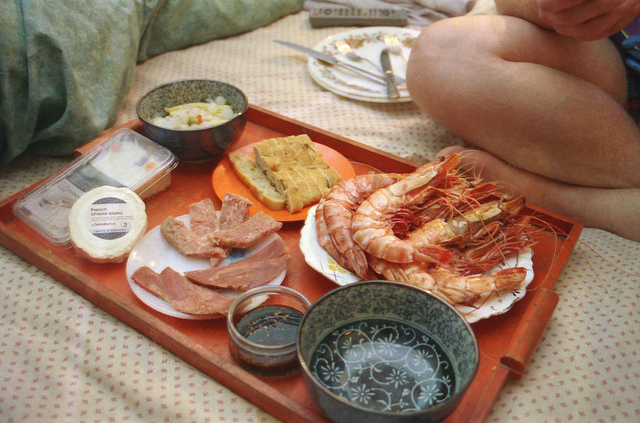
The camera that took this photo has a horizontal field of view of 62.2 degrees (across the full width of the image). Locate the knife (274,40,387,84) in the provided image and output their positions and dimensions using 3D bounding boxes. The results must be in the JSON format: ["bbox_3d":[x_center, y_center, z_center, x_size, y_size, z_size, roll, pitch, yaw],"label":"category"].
[{"bbox_3d":[0.067,-0.713,2.541,0.530,0.027,0.063,28,63,12],"label":"knife"}]

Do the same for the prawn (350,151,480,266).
[{"bbox_3d":[0.278,-0.002,1.651,0.348,0.096,0.329,-17,51,-16],"label":"prawn"}]

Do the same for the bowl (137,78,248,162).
[{"bbox_3d":[-0.455,-0.369,1.963,0.345,0.198,0.355,1,35,-1],"label":"bowl"}]

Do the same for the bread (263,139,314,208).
[{"bbox_3d":[-0.151,-0.109,1.864,0.056,0.197,0.204,-34,74,18],"label":"bread"}]

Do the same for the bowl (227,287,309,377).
[{"bbox_3d":[-0.147,0.327,1.433,0.222,0.141,0.229,2,48,-3],"label":"bowl"}]

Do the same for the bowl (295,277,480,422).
[{"bbox_3d":[0.171,0.367,1.394,0.370,0.200,0.388,2,51,-2],"label":"bowl"}]

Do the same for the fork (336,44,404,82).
[{"bbox_3d":[0.236,-0.704,2.520,0.351,0.040,0.040,38,71,15],"label":"fork"}]

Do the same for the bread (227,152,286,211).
[{"bbox_3d":[-0.216,-0.097,1.828,0.145,0.113,0.185,-23,37,-39],"label":"bread"}]
